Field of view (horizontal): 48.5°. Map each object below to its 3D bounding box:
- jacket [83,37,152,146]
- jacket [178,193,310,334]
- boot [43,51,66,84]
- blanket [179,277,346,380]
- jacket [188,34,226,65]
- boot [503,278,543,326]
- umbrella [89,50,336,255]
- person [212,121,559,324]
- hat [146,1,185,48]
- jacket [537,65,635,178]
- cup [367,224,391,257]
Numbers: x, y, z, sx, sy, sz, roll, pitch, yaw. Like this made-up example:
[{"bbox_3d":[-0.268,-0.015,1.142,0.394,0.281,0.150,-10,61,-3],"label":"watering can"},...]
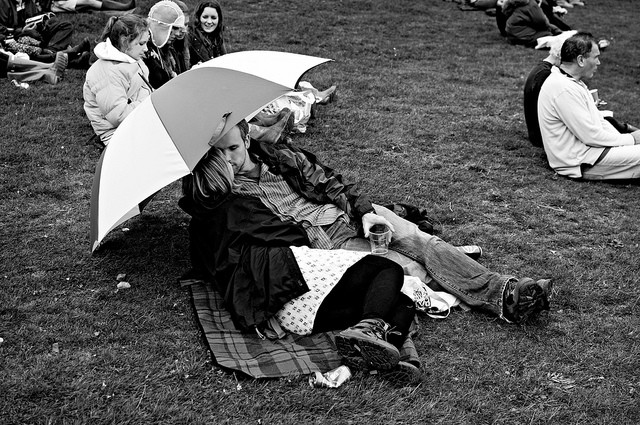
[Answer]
[{"bbox_3d":[-3.027,-1.876,10.713,1.118,1.396,1.609,7,25,-2],"label":"jacket"},{"bbox_3d":[-0.824,0.500,7.822,1.624,1.203,0.552,40,9,27],"label":"jacket"},{"bbox_3d":[-4.642,-2.504,12.597,0.294,0.711,0.235,-6,-24,40],"label":"boot"},{"bbox_3d":[-0.684,1.061,8.401,1.766,0.054,1.797,28,27,34],"label":"blanket"},{"bbox_3d":[-1.948,-2.978,12.600,0.749,0.435,0.996,3,-2,-7],"label":"jacket"},{"bbox_3d":[2.225,0.974,7.904,0.318,0.580,0.239,-5,26,-29],"label":"boot"},{"bbox_3d":[-1.467,-0.959,7.914,2.324,0.764,2.266,-39,-2,-26],"label":"umbrella"},{"bbox_3d":[0.816,0.173,8.709,3.551,1.393,1.058,19,29,10],"label":"person"},{"bbox_3d":[-2.457,-2.941,11.084,0.677,0.716,0.573,7,20,2],"label":"hat"},{"bbox_3d":[3.719,-1.530,11.231,1.737,1.746,1.252,-5,15,-2],"label":"jacket"},{"bbox_3d":[0.673,0.309,8.155,0.303,0.314,0.312,-1,-3,0],"label":"cup"}]
